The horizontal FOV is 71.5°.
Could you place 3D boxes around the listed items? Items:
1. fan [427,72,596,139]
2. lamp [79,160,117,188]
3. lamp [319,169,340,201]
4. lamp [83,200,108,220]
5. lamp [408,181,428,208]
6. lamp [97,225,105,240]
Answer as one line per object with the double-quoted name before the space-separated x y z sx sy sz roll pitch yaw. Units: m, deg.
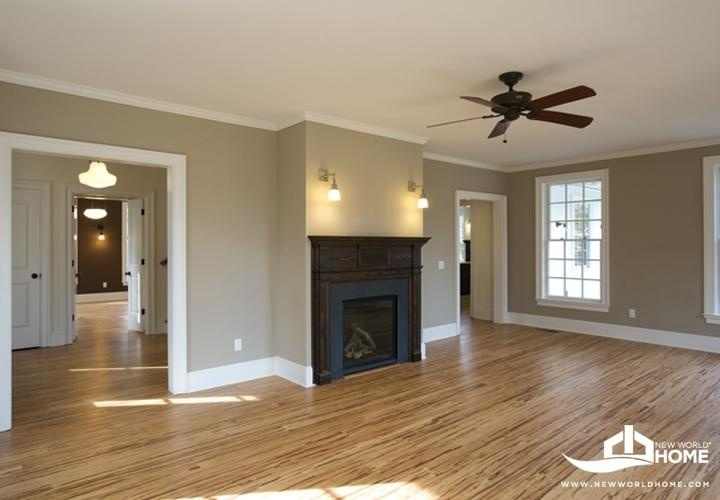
"fan" 1.565 -1.329 4.554 0.906 0.220 0.794 6 -12 -18
"lamp" -3.610 -1.048 6.892 0.366 0.345 0.299 3 12 13
"lamp" -0.328 -0.751 5.726 0.242 0.360 0.178 5 10 26
"lamp" -5.904 -0.906 11.110 0.457 0.505 0.438 -1 -7 -7
"lamp" 0.786 -0.724 6.547 0.278 0.383 0.241 9 15 39
"lamp" -6.001 -0.404 11.627 0.060 0.369 0.156 9 15 36
